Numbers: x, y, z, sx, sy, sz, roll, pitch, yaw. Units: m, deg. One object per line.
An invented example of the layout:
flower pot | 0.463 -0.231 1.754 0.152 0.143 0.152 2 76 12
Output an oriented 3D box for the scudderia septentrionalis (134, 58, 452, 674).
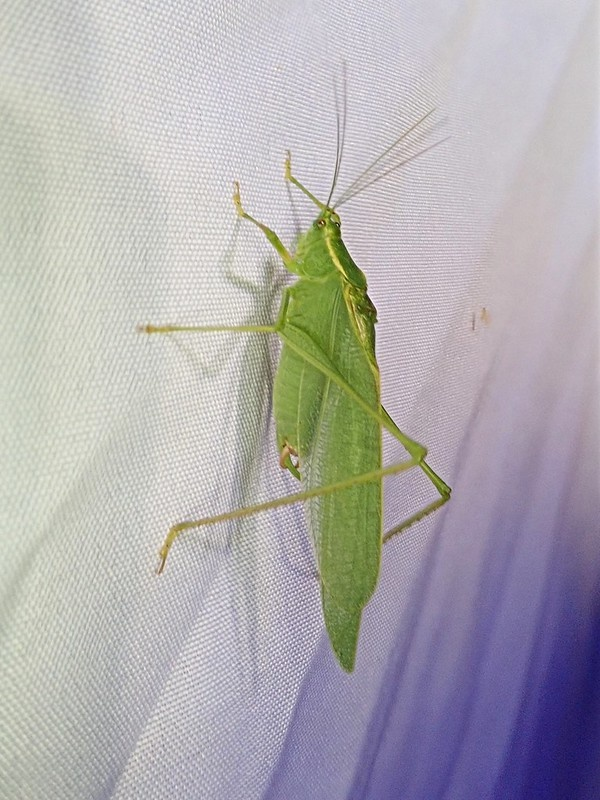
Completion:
scudderia septentrionalis | 0.030 -0.020 0.896 0.365 0.512 0.668 -8 -74 4
